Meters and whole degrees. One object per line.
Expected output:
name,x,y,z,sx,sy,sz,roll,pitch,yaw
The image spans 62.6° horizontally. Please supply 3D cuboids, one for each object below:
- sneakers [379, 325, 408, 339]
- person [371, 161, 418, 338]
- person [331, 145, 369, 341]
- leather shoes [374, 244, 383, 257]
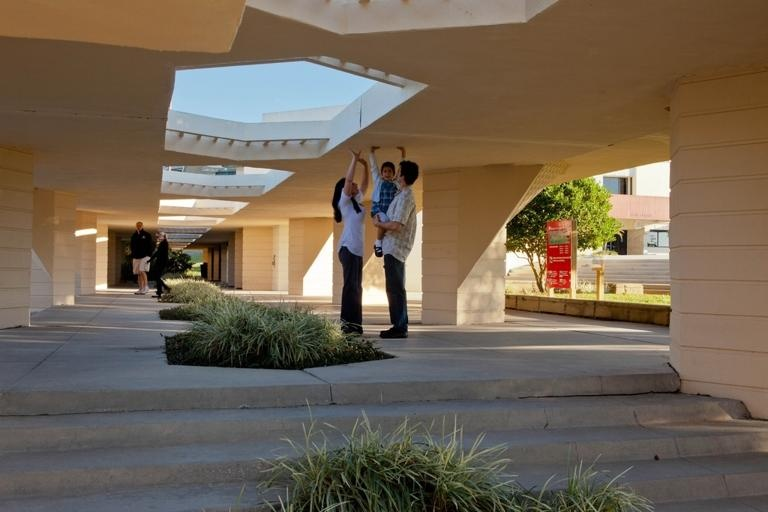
sneakers,0.130,1.013,8.527,0.338,0.152,0.158,4,-7,-16
person,0.148,-0.084,8.225,0.523,2.346,0.703,1,-1,2
person,-0.447,-0.204,8.054,0.420,2.401,0.794,1,-1,-3
leather shoes,-0.068,-0.087,8.365,0.161,0.115,0.412,-3,8,-10
